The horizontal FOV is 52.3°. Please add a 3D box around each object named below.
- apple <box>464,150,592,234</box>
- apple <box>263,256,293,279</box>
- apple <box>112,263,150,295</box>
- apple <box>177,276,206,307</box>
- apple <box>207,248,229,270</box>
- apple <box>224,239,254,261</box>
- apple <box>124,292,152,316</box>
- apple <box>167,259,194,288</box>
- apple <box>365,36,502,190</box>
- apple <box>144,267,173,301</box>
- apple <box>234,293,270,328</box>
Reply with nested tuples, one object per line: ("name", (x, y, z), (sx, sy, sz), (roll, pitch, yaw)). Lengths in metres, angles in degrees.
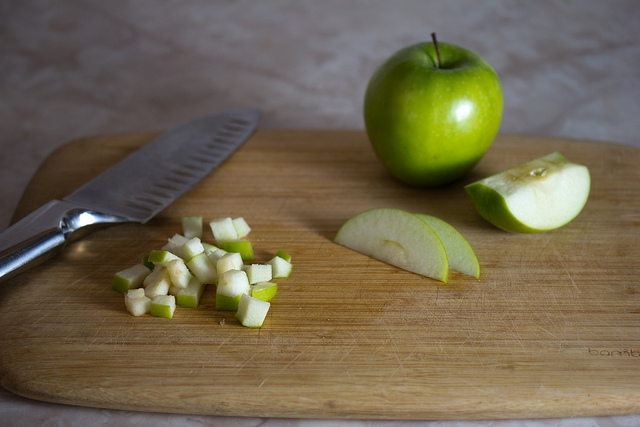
("apple", (0.592, -0.052, 1.806), (0.277, 0.156, 0.241), (-3, 11, -19))
("apple", (-0.112, 0.137, 1.728), (0.062, 0.026, 0.053), (13, 32, 44))
("apple", (-0.491, 0.167, 1.716), (0.060, 0.052, 0.107), (29, 37, 21))
("apple", (-0.334, 0.205, 1.713), (0.054, 0.027, 0.108), (3, 19, 7))
("apple", (-0.275, 0.121, 1.761), (0.044, 0.019, 0.047), (-17, 40, 14))
("apple", (-0.220, 0.099, 1.768), (0.058, 0.062, 0.045), (2, 85, 24))
("apple", (-0.460, 0.236, 1.659), (0.060, 0.038, 0.059), (-6, 26, -18))
("apple", (-0.364, 0.157, 1.681), (0.025, 0.066, 0.066), (-33, 40, -30))
("apple", (0.268, -0.316, 2.025), (0.405, 0.464, 0.395), (-4, 43, -3))
("apple", (-0.417, 0.184, 1.692), (0.049, 0.022, 0.079), (3, 45, 24))
("apple", (-0.173, 0.244, 1.638), (0.076, 0.059, 0.071), (18, 57, 7))
